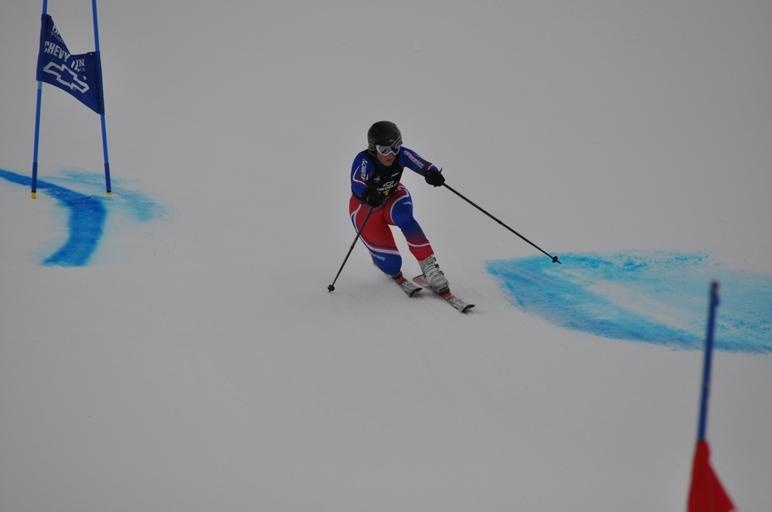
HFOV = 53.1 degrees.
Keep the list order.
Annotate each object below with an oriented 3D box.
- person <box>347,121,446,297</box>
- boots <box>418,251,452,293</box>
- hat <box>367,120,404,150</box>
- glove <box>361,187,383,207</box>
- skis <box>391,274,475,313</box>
[{"bbox_3d":[0.104,-0.472,8.304,0.962,1.924,0.608,-8,13,-3],"label":"person"},{"bbox_3d":[0.480,0.209,8.099,0.161,0.327,0.465,-36,-17,-3],"label":"boots"},{"bbox_3d":[-0.019,-1.260,8.066,0.331,0.288,0.230,-8,14,-2],"label":"hat"},{"bbox_3d":[-0.122,-0.606,8.133,0.227,0.201,0.369,-7,14,0],"label":"glove"},{"bbox_3d":[0.517,0.419,8.265,0.166,0.095,1.195,-39,44,-20],"label":"skis"}]
